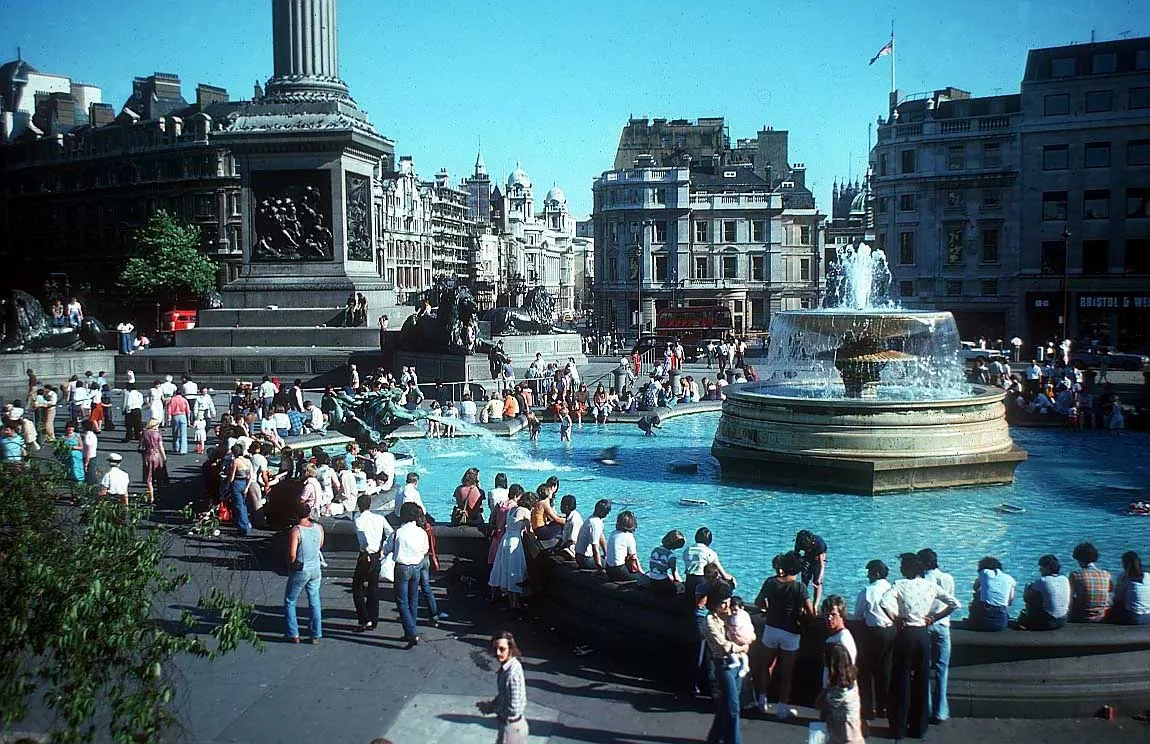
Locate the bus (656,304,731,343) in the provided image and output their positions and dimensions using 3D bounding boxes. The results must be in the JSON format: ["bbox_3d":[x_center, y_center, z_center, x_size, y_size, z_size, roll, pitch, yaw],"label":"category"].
[{"bbox_3d":[7.964,-3.291,67.869,6.552,3.402,2.004,0,2,10],"label":"bus"}]

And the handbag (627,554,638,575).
[{"bbox_3d":[0.922,2.999,15.813,0.090,0.275,0.195,-9,-2,-17],"label":"handbag"}]

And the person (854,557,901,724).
[{"bbox_3d":[3.938,3.494,13.314,0.624,2.236,0.536,-4,12,-29],"label":"person"}]

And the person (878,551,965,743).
[{"bbox_3d":[4.398,3.667,13.060,0.772,1.985,0.436,-2,4,-17],"label":"person"}]

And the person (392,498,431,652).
[{"bbox_3d":[-2.549,3.042,15.474,0.504,2.104,0.682,0,4,7],"label":"person"}]
